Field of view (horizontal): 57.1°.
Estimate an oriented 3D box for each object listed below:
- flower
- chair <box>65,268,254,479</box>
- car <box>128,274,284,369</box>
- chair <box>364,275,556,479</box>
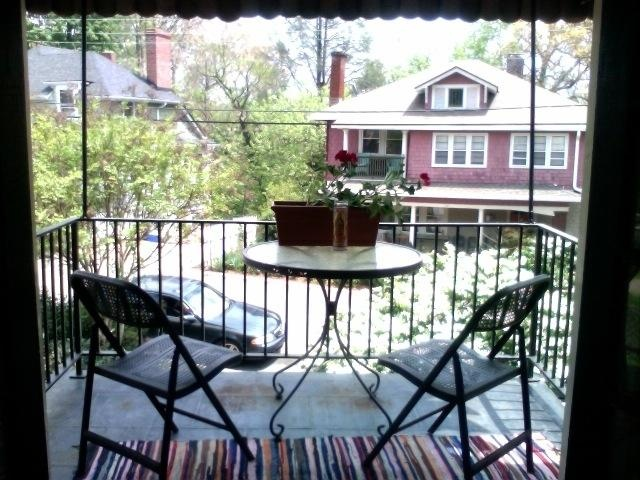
[{"bbox_3d":[0.256,-0.258,3.173,0.614,0.320,0.611,7,2,-16],"label":"flower"},{"bbox_3d":[-0.764,0.590,2.679,0.809,0.953,0.493,6,11,24],"label":"chair"},{"bbox_3d":[-1.411,0.890,8.282,2.791,0.997,1.223,7,11,15],"label":"car"},{"bbox_3d":[0.615,0.606,2.677,0.743,0.968,0.537,6,11,23],"label":"chair"}]
